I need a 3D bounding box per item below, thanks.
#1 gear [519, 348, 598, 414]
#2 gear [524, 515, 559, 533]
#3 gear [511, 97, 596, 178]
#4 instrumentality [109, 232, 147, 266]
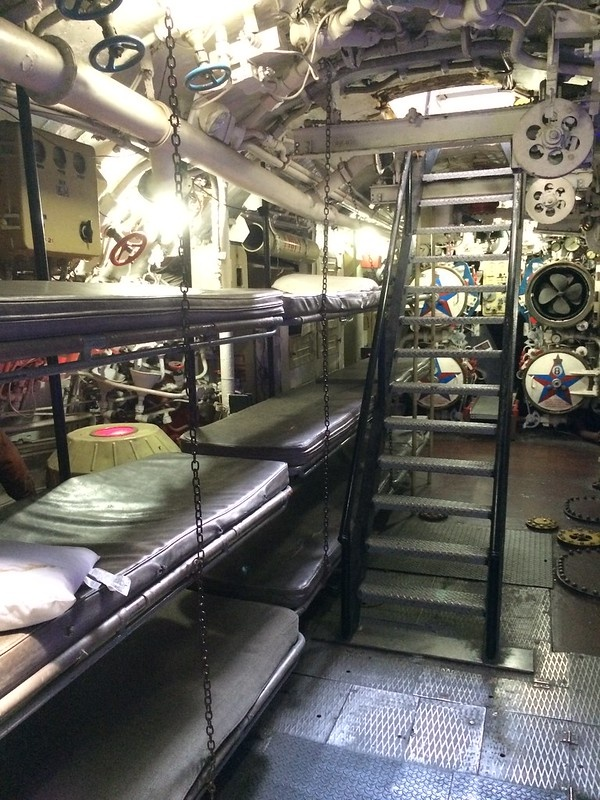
[{"bbox_3d":[3.949,-0.266,8.815,0.971,0.937,0.244,-2,16,24],"label":"gear"},{"bbox_3d":[2.342,1.208,5.548,0.317,0.067,0.337,-3,7,-9],"label":"gear"},{"bbox_3d":[1.656,-1.709,3.768,0.530,0.504,0.193,10,10,22],"label":"gear"},{"bbox_3d":[-1.906,-1.650,6.339,0.368,0.309,0.752,-4,7,-19],"label":"instrumentality"}]
